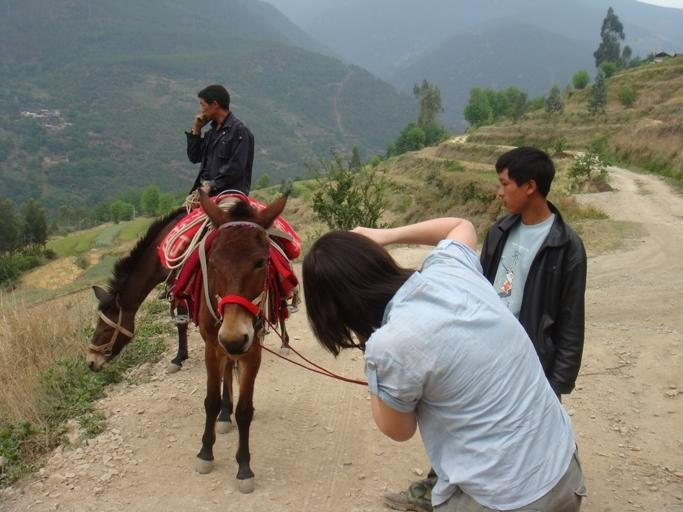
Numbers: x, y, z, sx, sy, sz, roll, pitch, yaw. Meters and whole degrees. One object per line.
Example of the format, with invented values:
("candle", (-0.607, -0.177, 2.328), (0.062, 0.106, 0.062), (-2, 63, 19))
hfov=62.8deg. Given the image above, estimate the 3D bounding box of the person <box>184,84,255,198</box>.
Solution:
("person", (-1.870, -1.822, 8.666), (1.006, 1.730, 1.491), (-5, 12, -15))
